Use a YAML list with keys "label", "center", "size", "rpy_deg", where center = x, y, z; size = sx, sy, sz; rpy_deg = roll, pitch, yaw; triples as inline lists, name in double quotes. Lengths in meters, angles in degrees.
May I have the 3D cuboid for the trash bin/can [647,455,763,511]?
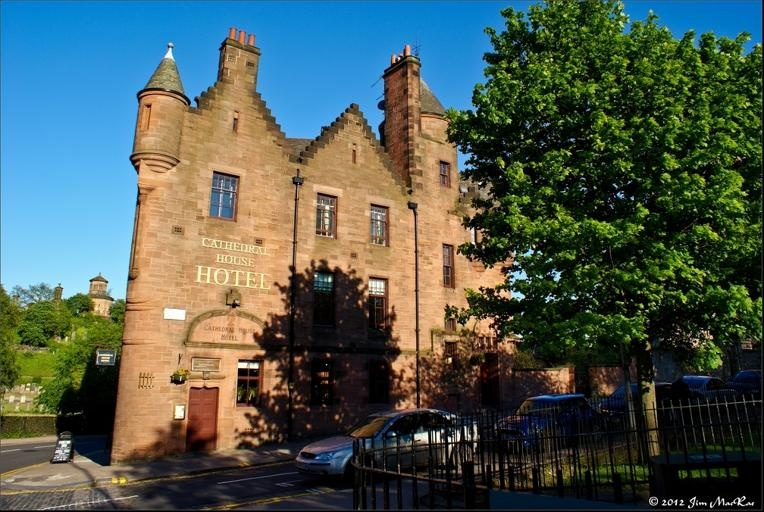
- label: "trash bin/can"
  center: [9.667, 6.649, 18.171]
  size: [2.983, 1.547, 1.644]
  rpy_deg: [-3, -18, 5]
